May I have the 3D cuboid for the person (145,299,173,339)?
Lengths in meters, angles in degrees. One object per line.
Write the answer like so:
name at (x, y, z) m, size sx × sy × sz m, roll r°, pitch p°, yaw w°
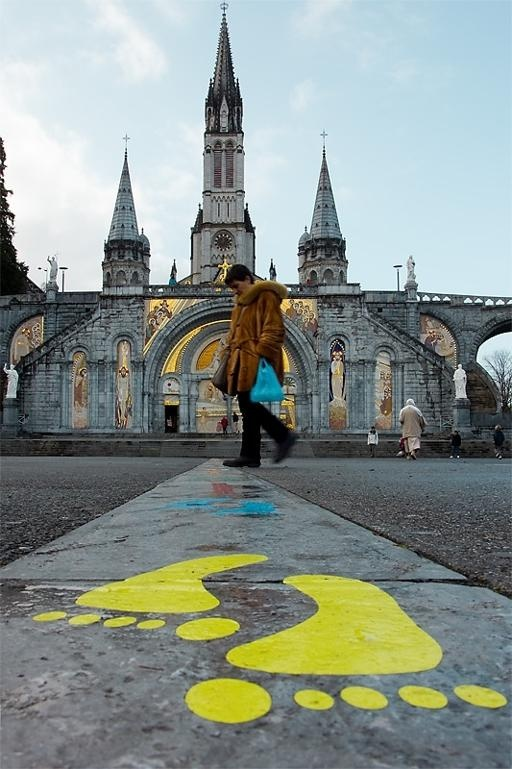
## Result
person at (-4.564, -3.082, 38.799) m, size 1.128 × 1.802 × 0.557 m, roll 37°, pitch 2°, yaw 7°

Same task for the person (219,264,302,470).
person at (0.017, -0.137, 5.502) m, size 0.422 × 1.383 × 0.868 m, roll 1°, pitch -4°, yaw -21°

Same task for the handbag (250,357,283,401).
handbag at (0.058, 0.006, 5.525) m, size 0.236 × 0.450 × 0.190 m, roll 0°, pitch -7°, yaw -9°
